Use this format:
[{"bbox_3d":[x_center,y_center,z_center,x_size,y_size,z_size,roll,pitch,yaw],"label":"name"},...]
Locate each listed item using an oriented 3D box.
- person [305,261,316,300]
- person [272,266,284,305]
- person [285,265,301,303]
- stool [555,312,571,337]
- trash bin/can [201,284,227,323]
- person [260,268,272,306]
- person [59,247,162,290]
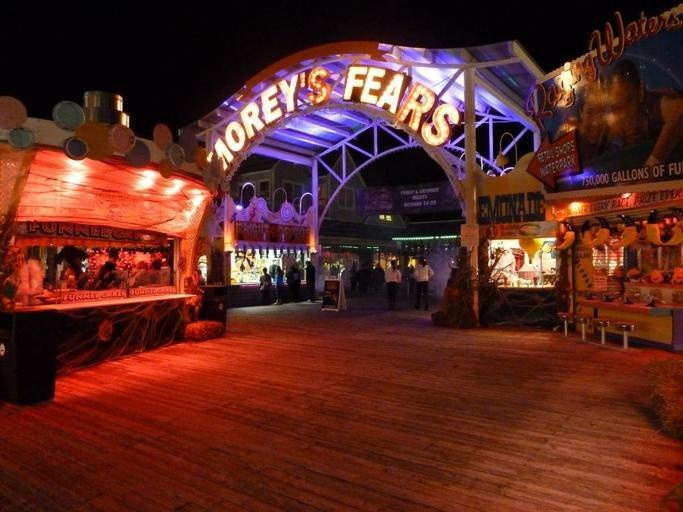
[{"bbox_3d":[-1.276,0.975,20.998,0.329,1.627,0.695,-1,3,-4],"label":"person"},{"bbox_3d":[-2.396,1.099,19.726,0.371,1.439,1.162,-1,3,-8],"label":"person"},{"bbox_3d":[-1.785,0.981,20.329,0.792,1.992,0.593,2,-34,-7],"label":"person"},{"bbox_3d":[5.118,1.508,11.817,0.292,0.573,1.110,1,4,25],"label":"stool"},{"bbox_3d":[-2.950,1.148,12.027,0.652,0.910,0.385,-3,4,-34],"label":"trash bin/can"},{"bbox_3d":[-2.872,1.133,19.508,0.406,1.304,0.719,-1,3,-9],"label":"person"},{"bbox_3d":[-4.982,0.236,11.089,2.341,0.864,1.291,-1,4,-5],"label":"person"}]
